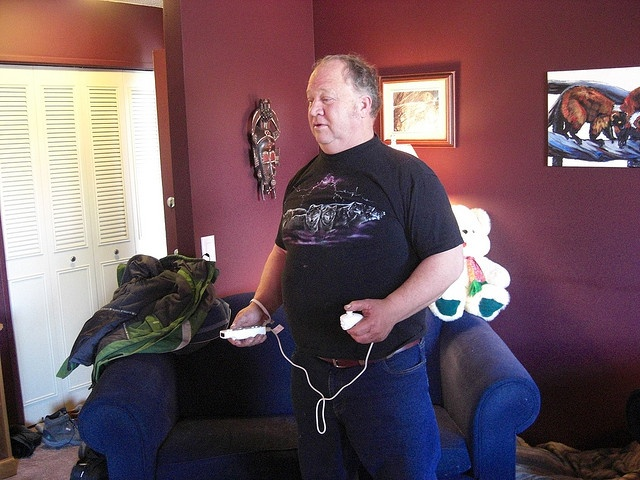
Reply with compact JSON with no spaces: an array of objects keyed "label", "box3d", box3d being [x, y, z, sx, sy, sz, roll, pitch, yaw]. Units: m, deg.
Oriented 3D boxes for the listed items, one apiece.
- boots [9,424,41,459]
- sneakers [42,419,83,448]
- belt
[{"label":"boots","box3d":[-2.001,1.314,3.595,0.215,0.078,0.164,11,18,-33]},{"label":"sneakers","box3d":[-1.748,1.284,3.589,0.234,0.194,0.164,-6,10,-25]},{"label":"belt","box3d":[0.172,0.402,1.890,0.388,0.104,0.094,-1,9,3]}]
